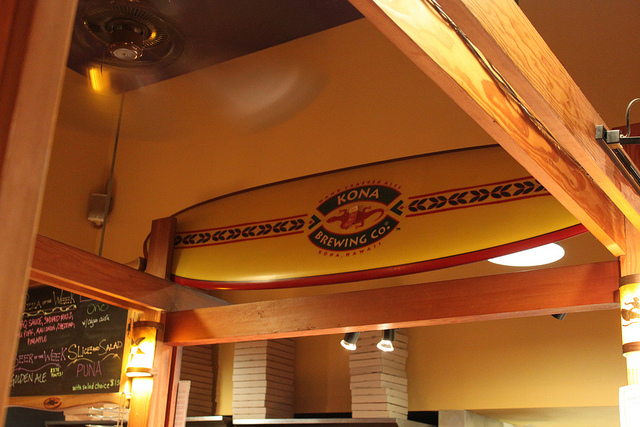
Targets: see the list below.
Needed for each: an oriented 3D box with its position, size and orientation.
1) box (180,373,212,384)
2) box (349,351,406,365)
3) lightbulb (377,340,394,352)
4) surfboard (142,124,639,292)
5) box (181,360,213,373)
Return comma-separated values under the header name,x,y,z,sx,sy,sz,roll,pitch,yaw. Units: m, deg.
name,x,y,z,sx,sy,sz,roll,pitch,yaw
box,-1.457,1.925,5.836,0.121,0.088,0.540,-15,-31,21
box,0.621,1.468,5.144,0.594,0.104,0.268,1,-29,-6
lightbulb,0.592,1.218,4.623,0.126,0.085,0.250,-7,-29,9
surfboard,-0.237,0.241,4.830,5.554,1.217,0.691,-6,-21,29
box,-1.436,1.796,5.892,0.036,0.087,0.492,-19,-33,27
